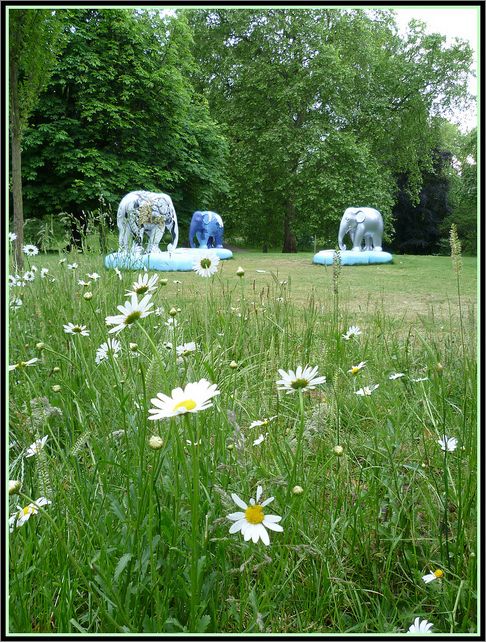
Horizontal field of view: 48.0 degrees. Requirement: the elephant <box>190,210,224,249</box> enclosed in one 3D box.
[{"bbox_3d":[-0.658,-1.714,10.092,0.546,0.937,0.714,-6,17,-36],"label":"elephant"}]
